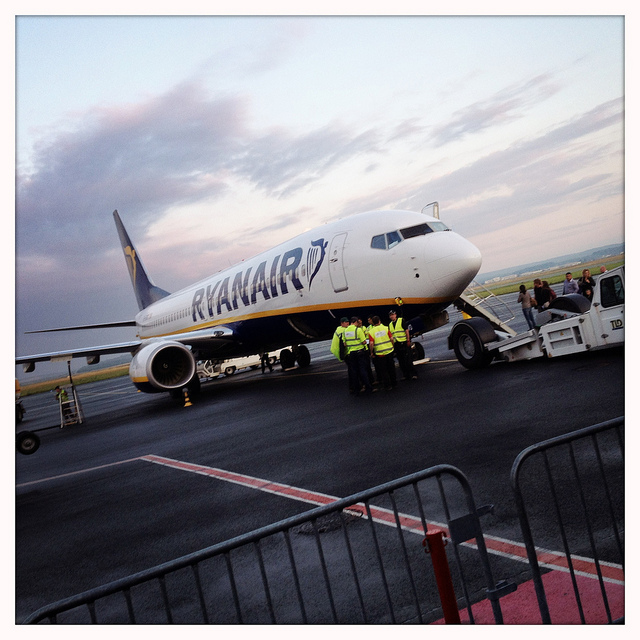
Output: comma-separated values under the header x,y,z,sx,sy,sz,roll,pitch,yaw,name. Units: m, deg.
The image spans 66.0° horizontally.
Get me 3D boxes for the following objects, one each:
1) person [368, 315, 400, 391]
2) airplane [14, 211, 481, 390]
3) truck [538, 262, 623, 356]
x,y,z,sx,sy,sz,roll,pitch,yaw,name
1.734,0.905,13.577,0.706,1.869,0.996,-14,3,8,person
-2.659,-0.431,19.831,19.574,5.100,6.447,-9,4,37,airplane
5.745,-0.219,11.817,2.680,1.705,1.667,-9,5,-11,truck
